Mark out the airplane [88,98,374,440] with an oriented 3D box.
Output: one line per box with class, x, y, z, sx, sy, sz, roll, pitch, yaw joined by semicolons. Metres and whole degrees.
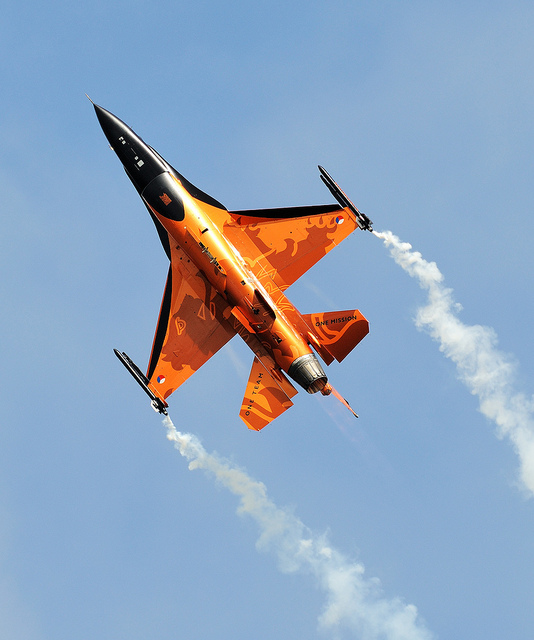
airplane;-0.862;-1.024;36.207;7.281;10.572;2.590;-43;-12;0
